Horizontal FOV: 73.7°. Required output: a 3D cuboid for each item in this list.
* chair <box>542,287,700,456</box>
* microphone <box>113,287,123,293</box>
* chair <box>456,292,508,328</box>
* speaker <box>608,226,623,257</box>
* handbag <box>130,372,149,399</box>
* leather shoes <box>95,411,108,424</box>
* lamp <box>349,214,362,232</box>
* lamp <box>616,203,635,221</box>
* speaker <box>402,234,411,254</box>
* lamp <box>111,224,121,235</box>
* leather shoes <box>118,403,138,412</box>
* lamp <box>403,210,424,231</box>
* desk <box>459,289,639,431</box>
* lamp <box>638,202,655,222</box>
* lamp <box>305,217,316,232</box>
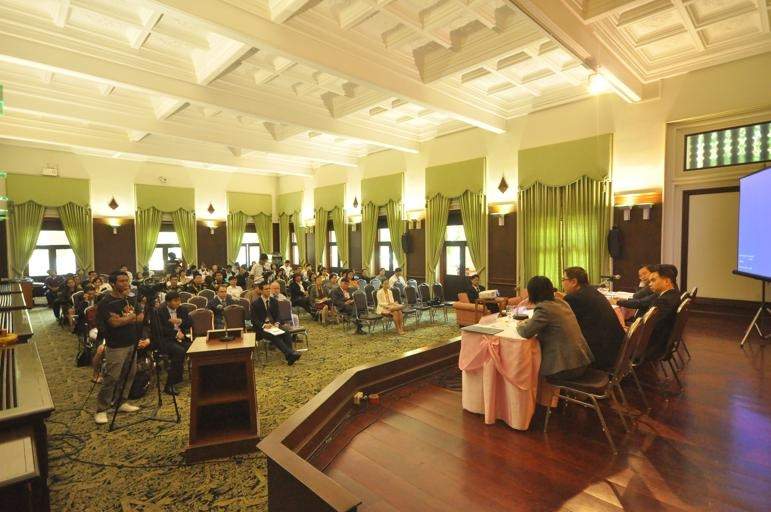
[{"bbox_3d":[3.657,1.879,8.397,2.479,1.837,1.240,-4,1,-35],"label":"chair"},{"bbox_3d":[-4.543,0.582,8.761,0.212,0.102,0.098,-4,1,14],"label":"microphone"},{"bbox_3d":[2.406,1.384,13.392,0.807,0.839,1.168,4,8,38],"label":"chair"},{"bbox_3d":[5.527,-0.344,12.447,0.339,0.615,0.185,-3,1,18],"label":"speaker"},{"bbox_3d":[-4.554,2.413,9.510,0.310,0.332,0.335,12,-10,1],"label":"handbag"},{"bbox_3d":[-4.774,2.726,8.670,0.189,0.221,0.222,-4,1,-30],"label":"leather shoes"},{"bbox_3d":[-1.115,-1.208,18.800,0.145,0.604,0.724,-4,1,-33],"label":"lamp"},{"bbox_3d":[5.706,-1.037,12.327,0.309,0.399,0.392,1,0,-11],"label":"lamp"},{"bbox_3d":[0.689,-0.433,16.816,0.320,0.697,0.221,-4,1,-6],"label":"speaker"},{"bbox_3d":[-9.582,-0.955,18.330,0.297,0.316,0.291,3,-9,-42],"label":"lamp"},{"bbox_3d":[-4.463,2.649,9.043,0.376,0.165,0.131,2,-4,-1],"label":"leather shoes"},{"bbox_3d":[0.887,-1.174,16.671,0.238,0.602,0.854,-4,1,-37],"label":"lamp"},{"bbox_3d":[2.451,1.734,9.087,1.434,1.487,2.400,7,17,42],"label":"desk"},{"bbox_3d":[6.083,-1.023,12.060,0.318,0.366,0.319,1,-3,-17],"label":"lamp"},{"bbox_3d":[-3.095,-1.289,20.988,0.479,0.547,0.494,-1,-5,16],"label":"lamp"}]
